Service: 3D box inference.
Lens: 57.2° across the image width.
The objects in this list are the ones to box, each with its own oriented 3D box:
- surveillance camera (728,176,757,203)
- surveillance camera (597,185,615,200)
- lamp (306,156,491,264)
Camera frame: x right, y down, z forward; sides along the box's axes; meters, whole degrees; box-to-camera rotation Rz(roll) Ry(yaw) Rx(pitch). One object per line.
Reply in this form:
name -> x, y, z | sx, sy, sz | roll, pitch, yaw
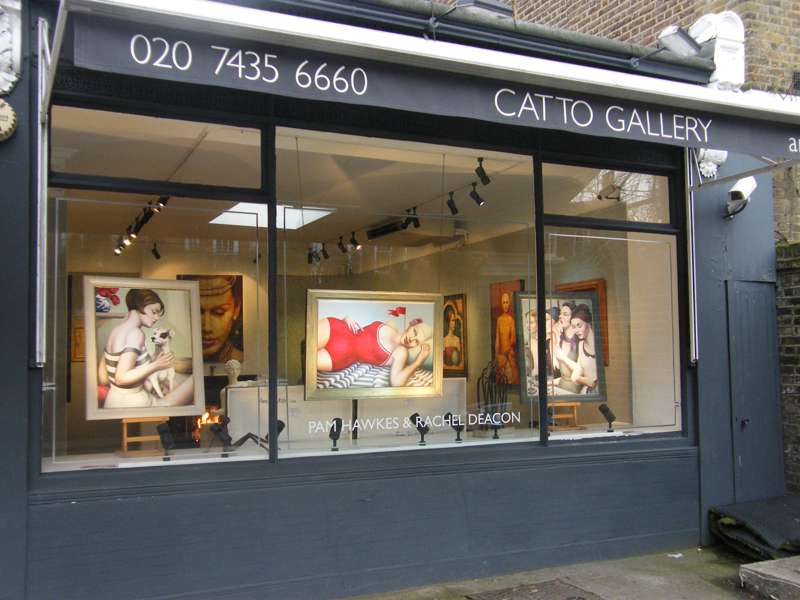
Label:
surveillance camera -> 3.897, -1.255, 8.255 | 0.345, 0.289, 0.133 | -2, -6, -9
surveillance camera -> 2.273, -1.152, 7.959 | 0.160, 0.168, 0.043 | 6, 0, -1
lamp -> -0.080, -0.925, 7.303 | 2.234, 0.471, 0.202 | -21, -17, -9
